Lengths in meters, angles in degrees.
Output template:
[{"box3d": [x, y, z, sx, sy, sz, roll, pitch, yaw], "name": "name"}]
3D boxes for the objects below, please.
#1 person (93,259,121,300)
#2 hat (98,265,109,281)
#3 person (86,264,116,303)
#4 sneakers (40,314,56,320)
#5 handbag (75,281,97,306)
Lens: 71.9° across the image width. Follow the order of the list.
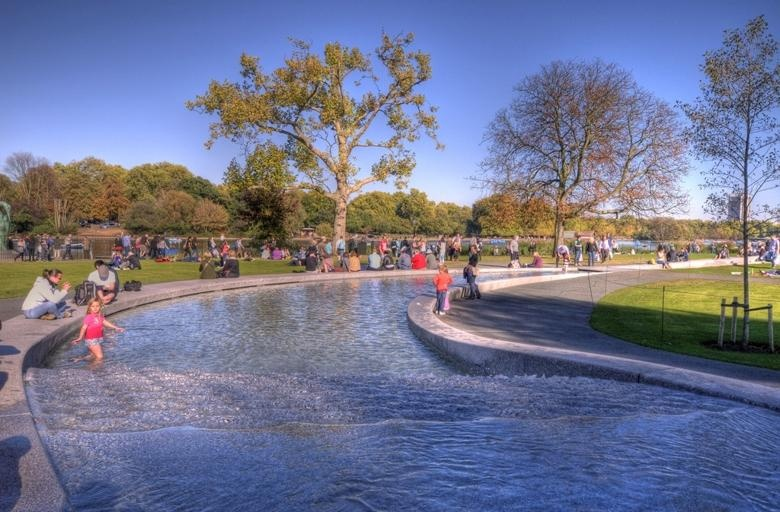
[{"box3d": [-9.184, 0.811, 17.354, 0.672, 1.287, 0.857, 5, 25, 1], "name": "person"}, {"box3d": [-9.105, 0.523, 17.131, 0.394, 0.449, 0.481, -5, 7, -27], "name": "hat"}, {"box3d": [-9.115, 0.890, 17.013, 0.723, 0.723, 1.139, -14, -30, -27], "name": "person"}, {"box3d": [-9.259, 1.634, 14.558, 0.281, 0.104, 0.187, -2, 2, -20], "name": "sneakers"}, {"box3d": [-9.028, 1.109, 16.013, 0.650, 0.930, 0.859, 4, -5, -37], "name": "handbag"}]
